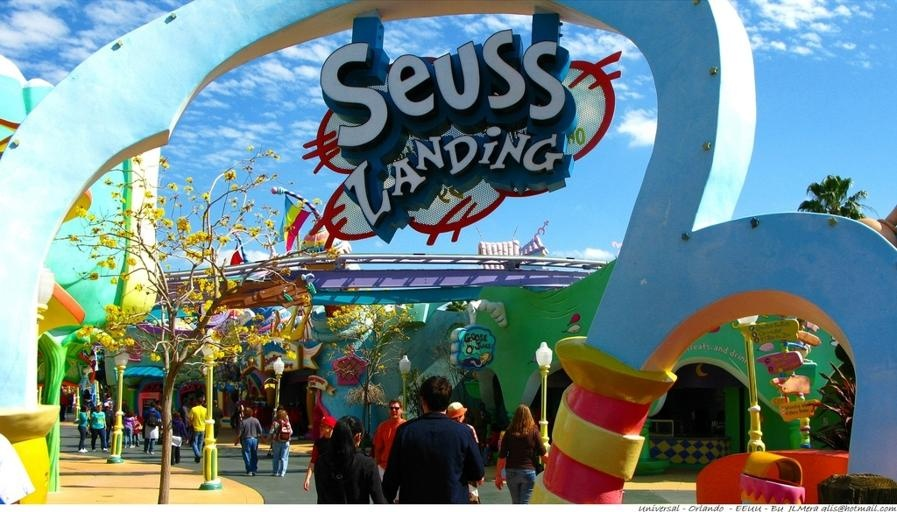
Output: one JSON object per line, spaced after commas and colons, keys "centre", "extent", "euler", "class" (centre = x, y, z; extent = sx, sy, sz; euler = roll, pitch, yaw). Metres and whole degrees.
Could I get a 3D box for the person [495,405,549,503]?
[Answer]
{"centre": [1.173, 3.223, 10.785], "extent": [0.719, 1.544, 0.382], "euler": [4, -12, 4], "class": "person"}
